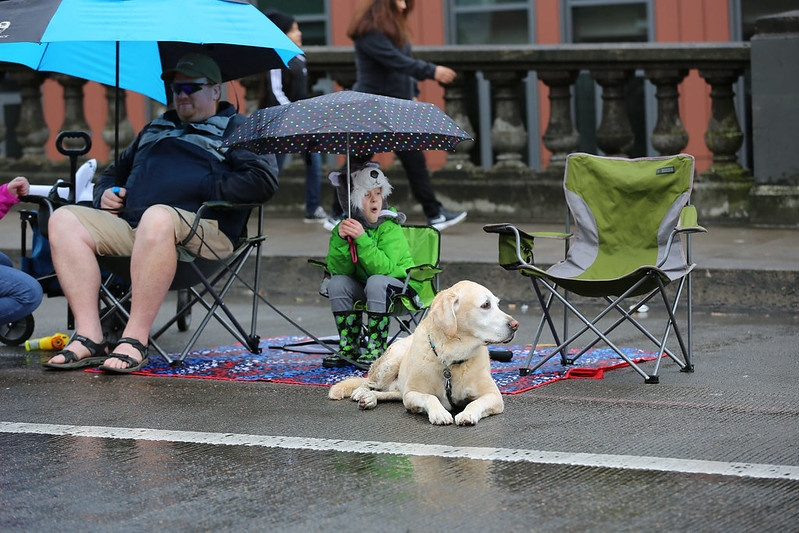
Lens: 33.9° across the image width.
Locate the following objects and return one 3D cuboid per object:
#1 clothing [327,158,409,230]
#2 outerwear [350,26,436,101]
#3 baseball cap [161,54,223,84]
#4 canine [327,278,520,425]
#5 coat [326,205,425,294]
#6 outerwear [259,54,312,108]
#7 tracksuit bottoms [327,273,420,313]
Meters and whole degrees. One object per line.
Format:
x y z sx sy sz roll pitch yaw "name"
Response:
-0.186 -0.472 8.881 0.505 0.432 0.367 -5 -4 -6 "clothing"
-0.048 -2.074 12.875 0.778 1.060 0.854 -3 13 -13 "outerwear"
-1.445 -1.376 9.163 0.322 0.152 0.226 19 -15 -34 "baseball cap"
0.195 0.508 8.008 1.064 0.823 0.461 2 5 41 "canine"
-0.138 -0.150 8.967 0.487 0.455 0.612 -3 -4 33 "coat"
-1.068 -1.689 12.116 0.296 0.555 1.107 2 10 15 "outerwear"
-0.259 0.170 9.049 0.470 0.244 0.766 0 9 4 "tracksuit bottoms"
